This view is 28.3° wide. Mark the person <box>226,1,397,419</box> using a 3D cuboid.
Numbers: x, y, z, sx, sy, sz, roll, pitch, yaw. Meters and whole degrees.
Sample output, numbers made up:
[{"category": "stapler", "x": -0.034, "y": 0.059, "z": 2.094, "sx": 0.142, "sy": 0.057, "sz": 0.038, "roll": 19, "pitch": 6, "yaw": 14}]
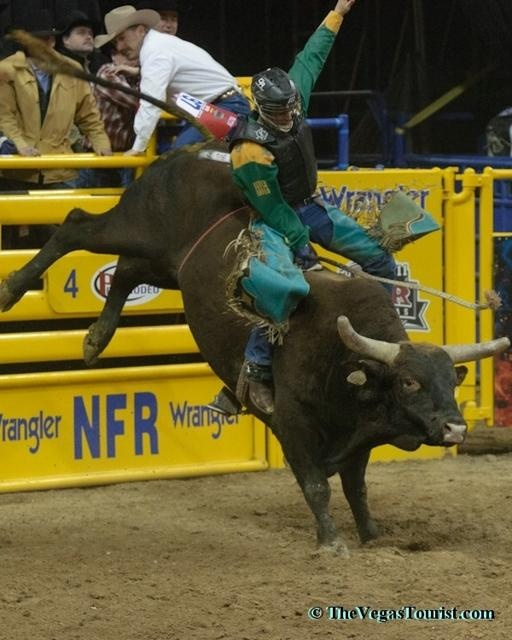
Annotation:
[{"category": "person", "x": 0.220, "y": -0.599, "z": 5.136, "sx": 0.465, "sy": 2.095, "sz": 0.773, "roll": 3, "pitch": 8, "yaw": 44}]

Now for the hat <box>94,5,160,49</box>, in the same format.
[{"category": "hat", "x": -0.910, "y": -2.102, "z": 7.118, "sx": 0.391, "sy": 0.138, "sz": 0.366, "roll": -26, "pitch": 4, "yaw": -35}]

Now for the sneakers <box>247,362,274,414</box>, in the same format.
[{"category": "sneakers", "x": 0.027, "y": 0.335, "z": 4.992, "sx": 0.121, "sy": 0.263, "sz": 0.087, "roll": -3, "pitch": 6, "yaw": 0}]
